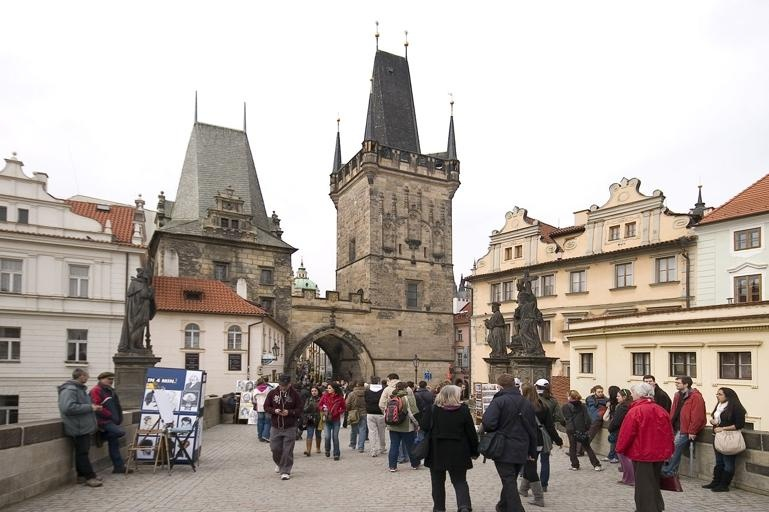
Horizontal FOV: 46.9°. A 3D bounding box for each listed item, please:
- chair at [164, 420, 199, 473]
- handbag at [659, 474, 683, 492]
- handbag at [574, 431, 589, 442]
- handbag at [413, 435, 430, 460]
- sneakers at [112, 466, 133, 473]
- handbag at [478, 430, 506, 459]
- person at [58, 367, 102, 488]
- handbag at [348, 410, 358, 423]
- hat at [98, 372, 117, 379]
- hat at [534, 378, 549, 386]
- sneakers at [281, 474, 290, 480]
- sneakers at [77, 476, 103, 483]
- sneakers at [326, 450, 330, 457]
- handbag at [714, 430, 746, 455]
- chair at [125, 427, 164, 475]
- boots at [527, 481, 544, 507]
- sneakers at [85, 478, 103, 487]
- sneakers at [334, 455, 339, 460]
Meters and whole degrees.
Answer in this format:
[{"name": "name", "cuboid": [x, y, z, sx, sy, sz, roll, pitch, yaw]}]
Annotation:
[{"name": "chair", "cuboid": [-5.805, 5.439, 25.647, 0.922, 1.455, 0.790, 3, -13, -12]}, {"name": "handbag", "cuboid": [7.256, 5.686, 22.368, 0.398, 0.419, 0.744, -10, -16, 36]}, {"name": "handbag", "cuboid": [5.773, 5.279, 26.108, 0.393, 0.235, 0.363, 4, -4, -9]}, {"name": "handbag", "cuboid": [0.932, 4.827, 22.521, 0.358, 0.559, 0.482, 1, -13, -3]}, {"name": "sneakers", "cuboid": [-7.404, 6.023, 25.082, 0.674, 0.234, 0.215, 2, -8, -6]}, {"name": "handbag", "cuboid": [2.717, 4.687, 22.201, 0.747, 0.731, 0.414, 0, -20, 36]}, {"name": "person", "cuboid": [-8.215, 4.608, 23.960, 0.675, 3.083, 1.128, -8, -15, 30]}, {"name": "handbag", "cuboid": [-0.995, 5.074, 28.308, 0.445, 0.410, 0.210, -1, -8, 7]}, {"name": "hat", "cuboid": [-7.774, 3.326, 24.786, 0.455, 0.139, 0.473, 1, -10, -17]}, {"name": "hat", "cuboid": [4.411, 3.542, 24.944, 0.327, 0.151, 0.448, 1, -2, 2]}, {"name": "sneakers", "cuboid": [-2.771, 6.183, 24.958, 0.101, 0.103, 0.259, 2, 1, 2]}, {"name": "sneakers", "cuboid": [-7.947, 6.041, 23.968, 0.671, 0.251, 0.215, 1, -7, 1]}, {"name": "sneakers", "cuboid": [-1.749, 6.087, 27.490, 0.098, 0.165, 0.099, 7, -52, -2]}, {"name": "handbag", "cuboid": [9.315, 4.980, 23.902, 0.700, 0.636, 0.360, -1, -19, 7]}, {"name": "chair", "cuboid": [-6.831, 5.475, 25.736, 1.182, 1.577, 1.172, 3, 4, -7]}, {"name": "boots", "cuboid": [3.995, 6.183, 23.240, 0.366, 0.645, 0.600, -2, -13, 8]}, {"name": "sneakers", "cuboid": [-7.803, 6.079, 23.907, 0.548, 0.196, 0.175, -1, 0, 5]}, {"name": "sneakers", "cuboid": [-1.458, 6.124, 27.106, 0.118, 0.086, 0.202, 1, -11, -2]}]
